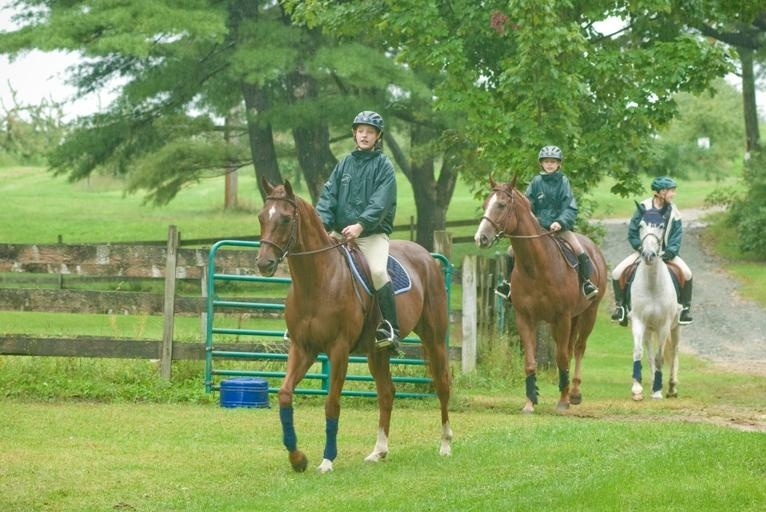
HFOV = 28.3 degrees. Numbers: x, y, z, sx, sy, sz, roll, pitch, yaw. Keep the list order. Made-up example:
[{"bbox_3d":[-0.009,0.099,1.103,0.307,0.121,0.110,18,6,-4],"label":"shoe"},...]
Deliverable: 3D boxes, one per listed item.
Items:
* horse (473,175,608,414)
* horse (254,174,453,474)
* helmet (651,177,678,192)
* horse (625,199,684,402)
[{"bbox_3d":[4.514,1.088,43.115,1.681,6.641,4.505,-3,-4,38],"label":"horse"},{"bbox_3d":[-0.877,1.825,39.673,4.883,7.514,1.453,0,-3,-12],"label":"horse"},{"bbox_3d":[8.128,-2.137,44.559,0.607,0.295,0.435,-7,4,8],"label":"helmet"},{"bbox_3d":[7.859,1.226,44.482,1.494,5.905,2.354,-2,-3,18],"label":"horse"}]
